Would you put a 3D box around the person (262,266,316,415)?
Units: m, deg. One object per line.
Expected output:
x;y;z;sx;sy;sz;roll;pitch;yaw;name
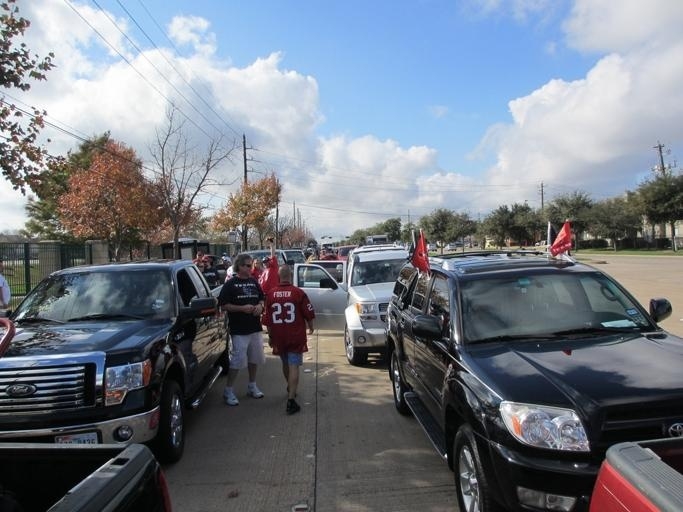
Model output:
-0.764;1.222;6.717;0.568;1.412;0.725;-2;1;-36;person
